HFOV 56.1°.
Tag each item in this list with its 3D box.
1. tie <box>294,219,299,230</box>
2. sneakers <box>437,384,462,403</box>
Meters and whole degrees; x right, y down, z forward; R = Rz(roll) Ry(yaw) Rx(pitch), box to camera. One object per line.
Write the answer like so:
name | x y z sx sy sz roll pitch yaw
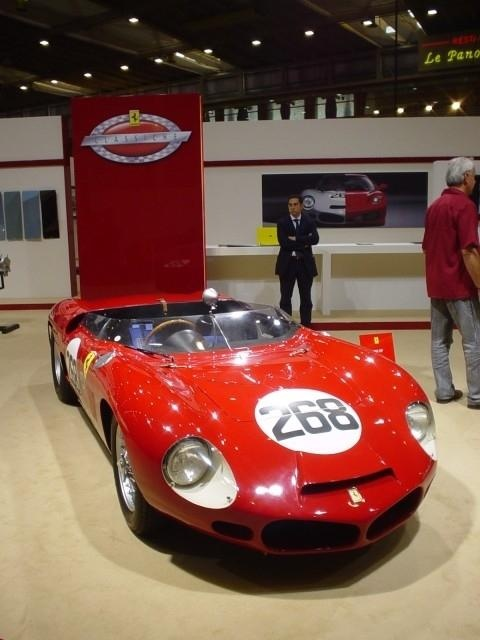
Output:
tie | 0.660 -1.128 5.299 0.074 0.125 0.021 0 -8 8
sneakers | 1.426 0.508 3.061 0.221 0.096 0.076 -18 23 -39
